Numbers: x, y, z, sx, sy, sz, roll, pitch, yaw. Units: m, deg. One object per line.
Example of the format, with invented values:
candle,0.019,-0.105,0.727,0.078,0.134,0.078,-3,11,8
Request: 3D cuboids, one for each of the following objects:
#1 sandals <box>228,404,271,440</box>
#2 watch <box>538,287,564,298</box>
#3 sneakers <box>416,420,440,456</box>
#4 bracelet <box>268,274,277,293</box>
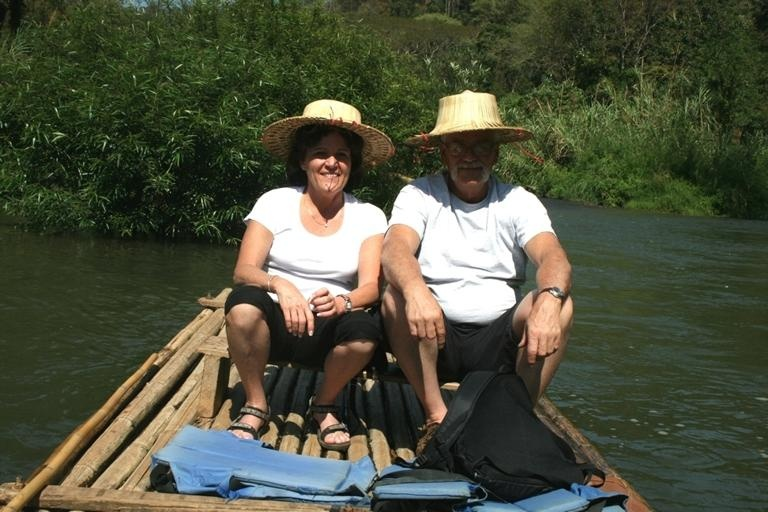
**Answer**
sandals,-1.057,1.302,5.860,0.352,0.240,0.278,1,8,-22
watch,1.296,0.270,5.655,0.111,0.046,0.098,12,-4,33
sneakers,0.332,1.381,5.625,0.097,0.261,0.201,36,-26,-11
bracelet,-0.902,0.201,5.979,0.041,0.104,0.090,2,-26,-9
